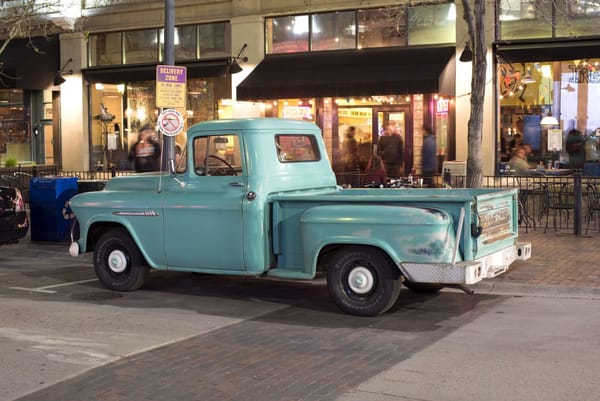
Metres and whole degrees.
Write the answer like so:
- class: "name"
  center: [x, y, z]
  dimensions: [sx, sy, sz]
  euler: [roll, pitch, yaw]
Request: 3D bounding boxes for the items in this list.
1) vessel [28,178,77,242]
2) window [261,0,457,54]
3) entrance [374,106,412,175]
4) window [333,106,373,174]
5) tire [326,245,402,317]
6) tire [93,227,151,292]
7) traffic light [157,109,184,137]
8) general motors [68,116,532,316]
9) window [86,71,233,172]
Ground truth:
- class: "vessel"
  center: [-6.238, 0.167, 13.036]
  dimensions: [1.044, 1.537, 1.031]
  euler: [3, 5, 33]
- class: "window"
  center: [2.235, -6.733, 19.953]
  dimensions: [7.388, 1.752, 0.422]
  euler: [1, 5, 22]
- class: "entrance"
  center: [3.662, -2.308, 20.585]
  dimensions: [1.561, 3.000, 0.188]
  euler: [2, 24, 17]
- class: "window"
  center: [2.163, -2.310, 21.866]
  dimensions: [1.712, 2.953, 1.544]
  euler: [-4, -2, -22]
- class: "tire"
  center: [0.917, 1.122, 7.189]
  dimensions: [1.150, 1.105, 0.398]
  euler: [0, 0, 31]
- class: "tire"
  center: [-3.083, 1.022, 8.834]
  dimensions: [1.189, 1.141, 0.383]
  euler: [1, 3, 30]
- class: "traffic light"
  center: [-2.903, -1.773, 11.395]
  dimensions: [0.639, 0.604, 0.047]
  euler: [2, 8, 14]
- class: "general motors"
  center: [-0.432, -0.153, 9.112]
  dimensions: [8.021, 2.810, 3.108]
  euler: [4, 3, 24]
- class: "window"
  center: [-4.912, -2.972, 17.624]
  dimensions: [5.898, 3.956, 0.195]
  euler: [0, 0, 11]
